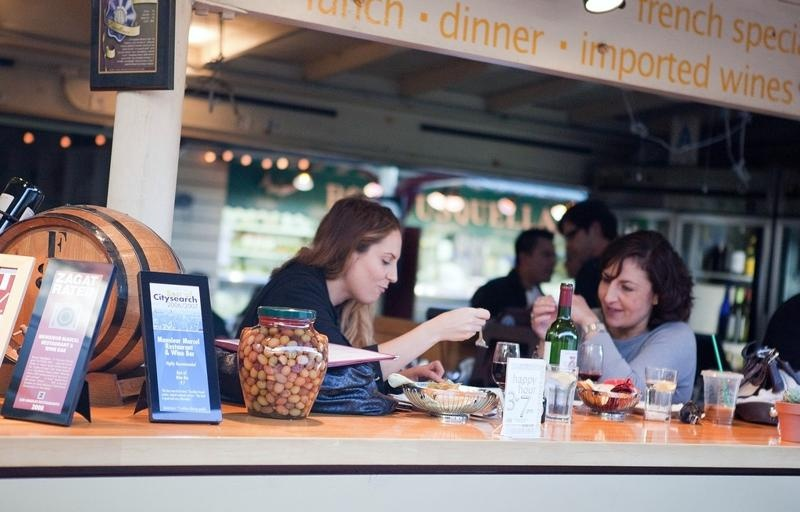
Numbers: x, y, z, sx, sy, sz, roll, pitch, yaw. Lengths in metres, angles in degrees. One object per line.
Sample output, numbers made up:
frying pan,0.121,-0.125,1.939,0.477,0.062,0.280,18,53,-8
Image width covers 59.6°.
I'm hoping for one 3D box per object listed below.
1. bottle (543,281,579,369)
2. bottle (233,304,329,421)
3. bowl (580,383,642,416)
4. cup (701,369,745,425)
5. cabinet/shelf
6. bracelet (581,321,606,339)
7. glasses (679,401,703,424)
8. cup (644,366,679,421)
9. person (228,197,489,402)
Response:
bottle,0.650,0.285,2.806,0.133,0.344,0.360,4,-5,14
bottle,-0.364,0.340,2.378,0.328,0.387,0.339,6,5,28
bowl,0.845,0.578,2.821,0.158,0.074,0.153,2,-6,0
cup,1.339,0.593,2.925,0.142,0.215,0.195,3,-5,24
cabinet/shelf,2.265,0.255,5.209,1.555,1.447,0.497,2,-18,5
bracelet,0.927,0.357,3.359,0.107,0.069,0.105,-9,-23,-4
glasses,1.181,0.642,2.849,0.039,0.068,0.095,22,-48,-28
cup,1.052,0.570,2.859,0.130,0.212,0.100,2,-6,35
person,-0.197,0.215,3.060,1.045,0.902,0.783,6,-1,15
